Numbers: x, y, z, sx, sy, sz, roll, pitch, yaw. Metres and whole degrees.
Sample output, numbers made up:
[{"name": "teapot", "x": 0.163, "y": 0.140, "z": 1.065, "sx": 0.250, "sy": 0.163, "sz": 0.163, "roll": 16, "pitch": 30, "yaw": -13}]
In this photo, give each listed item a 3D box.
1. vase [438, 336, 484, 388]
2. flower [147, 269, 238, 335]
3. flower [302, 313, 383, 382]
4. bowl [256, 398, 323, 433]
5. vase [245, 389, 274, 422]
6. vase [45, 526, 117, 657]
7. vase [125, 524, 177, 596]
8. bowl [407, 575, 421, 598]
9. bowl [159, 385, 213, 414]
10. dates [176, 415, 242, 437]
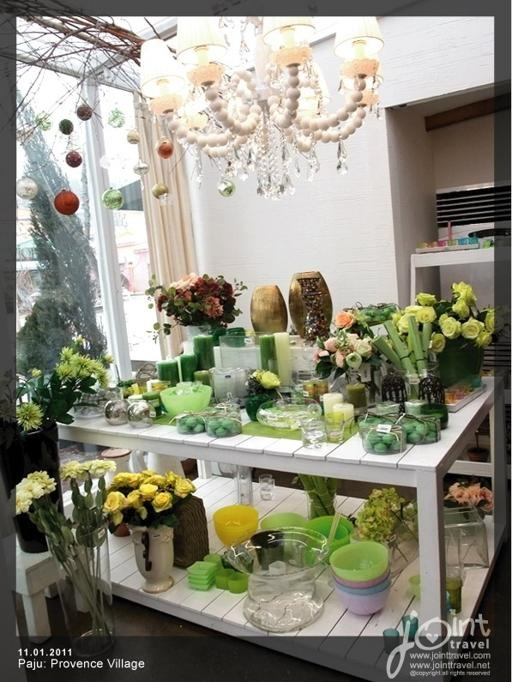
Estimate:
[{"name": "vase", "x": 0.782, "y": 0.082, "z": 1.997, "sx": 0.154, "sy": 0.178, "sz": 0.192, "roll": 7, "pitch": 12, "yaw": 28}, {"name": "flower", "x": -0.316, "y": -0.190, "z": 2.699, "sx": 0.493, "sy": 0.382, "sz": 0.407, "roll": 8, "pitch": 13, "yaw": 37}, {"name": "flower", "x": 0.348, "y": 0.003, "z": 1.996, "sx": 0.271, "sy": 0.237, "sz": 0.308, "roll": -7, "pitch": 13, "yaw": -25}, {"name": "bowl", "x": 0.174, "y": 0.268, "z": 2.013, "sx": 0.253, "sy": 0.101, "sz": 0.236, "roll": 2, "pitch": 8, "yaw": 0}, {"name": "vase", "x": 0.007, "y": 0.269, "z": 2.108, "sx": 0.118, "sy": 0.107, "sz": 0.120, "roll": -3, "pitch": 4, "yaw": -2}, {"name": "vase", "x": -0.637, "y": 0.896, "z": 1.901, "sx": 0.231, "sy": 0.431, "sz": 0.268, "roll": -1, "pitch": 9, "yaw": -19}, {"name": "vase", "x": -0.433, "y": 0.857, "z": 2.099, "sx": 0.185, "sy": 0.293, "sz": 0.159, "roll": 12, "pitch": 12, "yaw": 44}, {"name": "bowl", "x": 0.576, "y": 0.887, "z": 1.837, "sx": 0.062, "sy": 0.048, "sz": 0.064, "roll": -4, "pitch": 9, "yaw": 1}, {"name": "bowl", "x": -0.317, "y": 0.229, "z": 2.216, "sx": 0.163, "sy": 0.096, "sz": 0.159, "roll": -5, "pitch": 5, "yaw": 0}, {"name": "dates", "x": -0.186, "y": 0.318, "z": 1.991, "sx": 0.193, "sy": 0.062, "sz": 0.110, "roll": 3, "pitch": 6, "yaw": 27}]
